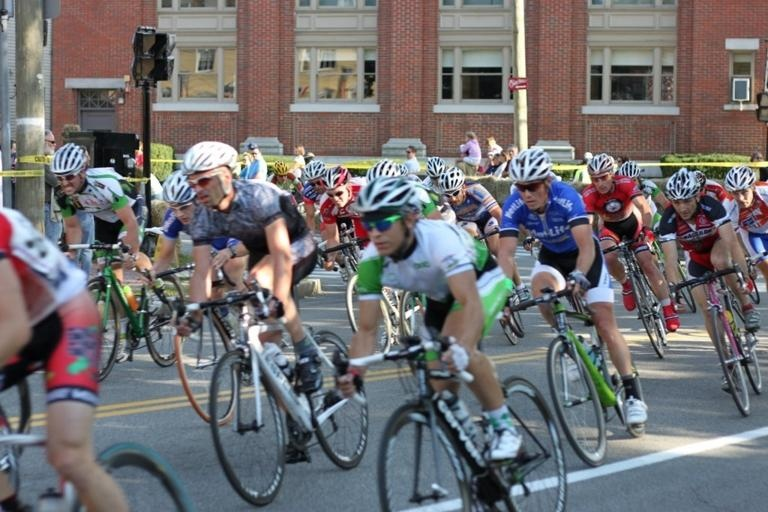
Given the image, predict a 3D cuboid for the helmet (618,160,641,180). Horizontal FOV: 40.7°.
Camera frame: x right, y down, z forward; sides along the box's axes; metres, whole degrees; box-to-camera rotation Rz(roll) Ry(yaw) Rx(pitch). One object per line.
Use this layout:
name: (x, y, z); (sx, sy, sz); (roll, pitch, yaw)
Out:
helmet: (3.945, -1.419, 16.542); (0.379, 0.254, 0.660); (0, -5, 16)

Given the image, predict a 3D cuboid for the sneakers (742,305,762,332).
sneakers: (4.526, 0.742, 12.660); (0.176, 0.246, 0.533); (-6, 1, 8)

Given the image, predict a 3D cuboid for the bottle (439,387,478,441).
bottle: (0.667, 1.337, 9.064); (0.229, 0.551, 0.184); (-15, 23, 37)

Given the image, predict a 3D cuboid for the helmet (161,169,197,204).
helmet: (-2.447, -0.786, 12.168); (0.383, 0.563, 0.200); (6, -18, -2)

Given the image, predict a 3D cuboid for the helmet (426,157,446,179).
helmet: (0.799, -1.361, 16.042); (0.244, 0.149, 0.412); (-5, 47, -4)

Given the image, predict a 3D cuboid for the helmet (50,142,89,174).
helmet: (-3.892, -1.173, 12.818); (0.311, 0.229, 0.472); (2, 31, 5)

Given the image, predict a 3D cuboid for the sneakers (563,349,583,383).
sneakers: (1.880, 1.096, 10.343); (0.118, 0.242, 0.356); (-13, -17, 9)

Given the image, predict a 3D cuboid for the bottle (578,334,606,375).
bottle: (2.177, 0.976, 10.777); (0.260, 0.394, 0.491); (2, 5, 17)

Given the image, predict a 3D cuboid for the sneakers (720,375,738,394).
sneakers: (3.992, 1.454, 11.834); (0.192, 0.109, 0.275); (2, -15, 39)

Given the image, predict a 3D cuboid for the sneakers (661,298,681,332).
sneakers: (4.078, 0.786, 14.655); (0.164, 0.215, 0.504); (-19, 37, 20)

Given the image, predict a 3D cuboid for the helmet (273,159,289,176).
helmet: (-2.021, -1.775, 20.360); (0.257, 0.331, 0.299); (-3, -5, -27)

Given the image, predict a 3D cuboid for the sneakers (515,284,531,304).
sneakers: (1.652, 0.404, 12.017); (0.167, 0.229, 0.505); (-4, -4, 11)

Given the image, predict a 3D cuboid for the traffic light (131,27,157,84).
traffic light: (-3.860, -3.189, 16.502); (0.359, 0.924, 0.278); (-1, 5, -14)

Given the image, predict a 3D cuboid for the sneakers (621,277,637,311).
sneakers: (3.612, 0.542, 15.110); (0.224, 0.538, 0.185); (-7, 2, -31)

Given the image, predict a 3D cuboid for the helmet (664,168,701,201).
helmet: (3.774, -0.908, 12.938); (0.304, 0.275, 0.436); (-2, 7, 21)
